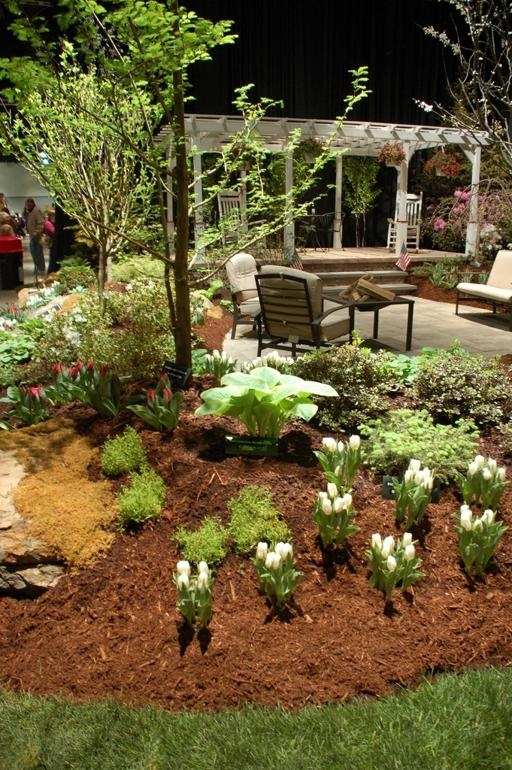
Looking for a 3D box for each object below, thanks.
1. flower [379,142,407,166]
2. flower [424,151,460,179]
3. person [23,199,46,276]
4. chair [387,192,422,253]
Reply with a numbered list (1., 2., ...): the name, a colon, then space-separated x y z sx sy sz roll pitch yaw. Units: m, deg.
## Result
1. flower: 3.126 -5.335 12.700 0.599 0.513 0.797 2 19 13
2. flower: 5.271 -6.295 15.663 0.969 0.739 1.597 3 20 16
3. person: -4.935 -3.250 12.343 0.429 1.783 1.186 -10 20 -20
4. chair: 3.976 -4.348 14.751 0.824 1.453 2.033 3 20 16
